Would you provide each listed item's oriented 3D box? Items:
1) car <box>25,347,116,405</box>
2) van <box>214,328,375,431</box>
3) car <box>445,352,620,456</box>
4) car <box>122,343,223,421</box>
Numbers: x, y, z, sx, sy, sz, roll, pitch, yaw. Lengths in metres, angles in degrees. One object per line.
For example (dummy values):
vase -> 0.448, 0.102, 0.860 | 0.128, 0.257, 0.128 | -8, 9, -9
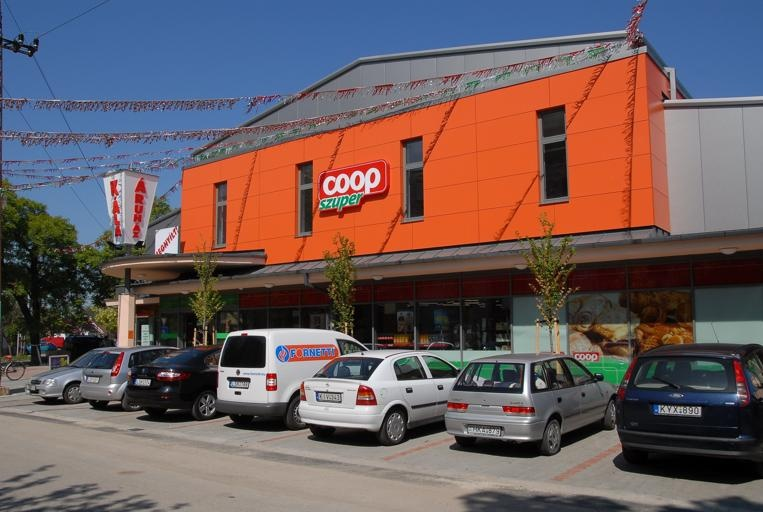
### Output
car -> -10.747, 3.910, 23.632 | 3.279, 1.432, 1.876 | 8, -11, -43
van -> -2.429, 3.116, 19.492 | 2.179, 1.797, 3.786 | -4, -1, 38
car -> 3.622, 3.372, 16.446 | 3.973, 2.139, 1.556 | -1, 3, -27
car -> -5.741, 3.469, 19.691 | 1.594, 1.159, 2.793 | -3, -4, 38
